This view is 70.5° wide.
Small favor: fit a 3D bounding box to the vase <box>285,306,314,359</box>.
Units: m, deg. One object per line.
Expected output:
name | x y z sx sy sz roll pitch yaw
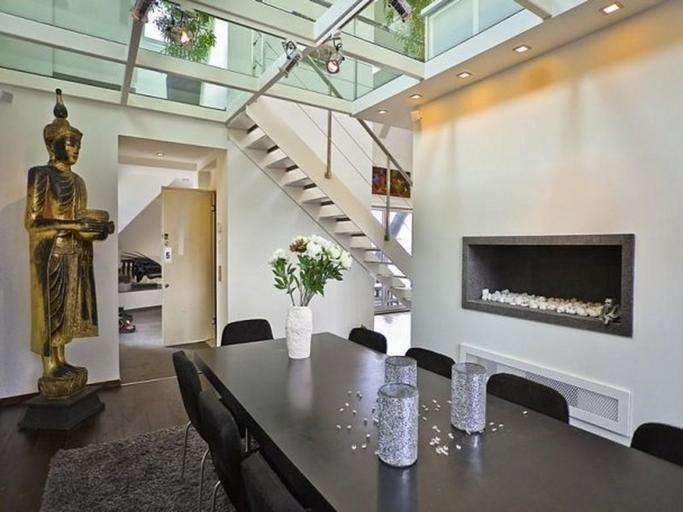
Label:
vase | -0.336 0.595 3.858 0.296 0.392 0.312 0 -4 7
